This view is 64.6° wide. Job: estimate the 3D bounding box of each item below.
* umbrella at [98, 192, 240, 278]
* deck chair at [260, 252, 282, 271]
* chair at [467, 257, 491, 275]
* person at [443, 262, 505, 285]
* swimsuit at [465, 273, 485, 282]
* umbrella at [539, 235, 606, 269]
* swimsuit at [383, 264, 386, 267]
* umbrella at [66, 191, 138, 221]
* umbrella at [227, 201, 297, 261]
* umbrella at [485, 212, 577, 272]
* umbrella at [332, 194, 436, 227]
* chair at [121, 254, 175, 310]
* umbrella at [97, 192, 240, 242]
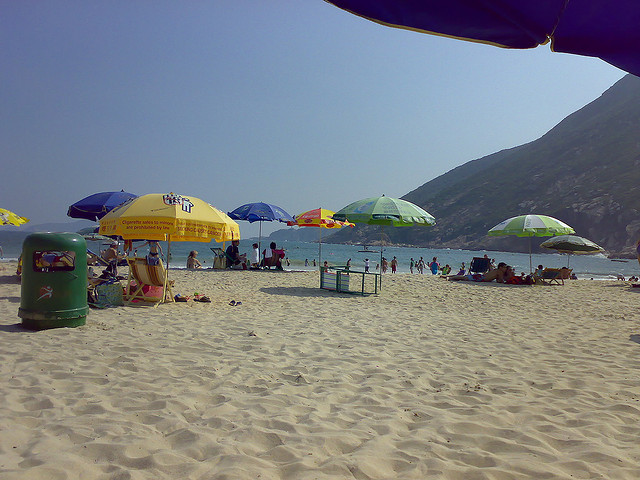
[{"bbox_3d":[-2.818,-0.073,10.184,2.773,1.648,2.576,-1,3,-31],"label":"umbrella"},{"bbox_3d":[-1.834,0.875,20.162,0.809,0.739,0.670,2,2,-22],"label":"deck chair"},{"bbox_3d":[5.505,0.870,17.308,0.663,0.734,0.651,3,4,22],"label":"chair"},{"bbox_3d":[5.042,1.102,16.582,1.770,0.518,0.789,2,-2,4],"label":"person"},{"bbox_3d":[5.021,1.203,16.347,0.577,0.230,0.280,4,7,17],"label":"swimsuit"},{"bbox_3d":[9.288,0.494,18.875,2.418,1.063,2.006,3,8,22],"label":"umbrella"},{"bbox_3d":[3.886,1.543,30.549,0.167,0.121,0.140,-7,7,8],"label":"swimsuit"},{"bbox_3d":[-4.648,-0.722,11.027,2.106,0.510,1.736,0,-1,-3],"label":"umbrella"},{"bbox_3d":[-2.219,-0.719,18.940,2.077,1.242,1.713,4,-13,-9],"label":"umbrella"},{"bbox_3d":[7.269,0.078,17.620,2.896,1.700,2.609,-2,-3,-31],"label":"umbrella"},{"bbox_3d":[1.600,-0.812,13.315,2.736,0.645,2.552,5,5,36],"label":"umbrella"},{"bbox_3d":[-3.161,0.794,9.593,0.816,0.730,1.025,2,-13,10],"label":"chair"},{"bbox_3d":[-2.947,-0.564,9.877,2.494,0.565,1.962,4,5,5],"label":"umbrella"}]
